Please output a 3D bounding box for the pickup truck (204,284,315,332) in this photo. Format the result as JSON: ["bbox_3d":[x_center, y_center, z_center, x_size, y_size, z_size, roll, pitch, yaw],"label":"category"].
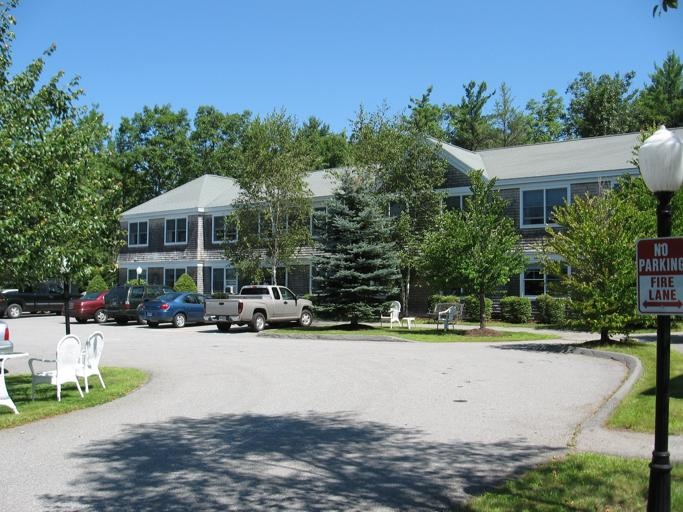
[{"bbox_3d":[-3.418,2.156,30.070,2.063,1.597,3.892,-2,-2,38],"label":"pickup truck"}]

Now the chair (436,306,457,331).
[{"bbox_3d":[4.166,2.456,28.522,0.853,1.259,0.812,3,-5,-38],"label":"chair"}]

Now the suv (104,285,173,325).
[{"bbox_3d":[-9.493,2.276,34.341,1.507,1.327,2.784,-2,-1,44],"label":"suv"}]

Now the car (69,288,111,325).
[{"bbox_3d":[-11.984,2.452,34.837,1.021,0.927,2.261,0,2,39],"label":"car"}]
